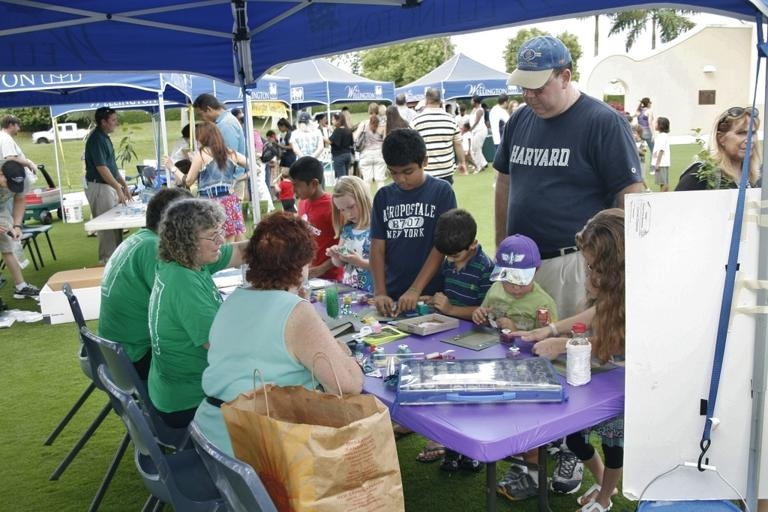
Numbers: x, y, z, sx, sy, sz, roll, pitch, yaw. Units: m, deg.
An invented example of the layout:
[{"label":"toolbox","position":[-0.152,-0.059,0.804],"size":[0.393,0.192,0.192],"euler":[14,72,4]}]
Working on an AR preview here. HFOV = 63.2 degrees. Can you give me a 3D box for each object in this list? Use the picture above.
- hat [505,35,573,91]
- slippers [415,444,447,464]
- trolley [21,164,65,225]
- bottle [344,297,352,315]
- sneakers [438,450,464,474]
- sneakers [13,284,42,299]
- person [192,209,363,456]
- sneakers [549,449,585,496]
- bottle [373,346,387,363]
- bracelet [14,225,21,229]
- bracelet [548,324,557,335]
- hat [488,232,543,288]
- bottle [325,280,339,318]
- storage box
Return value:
[{"label":"hat","position":[0.896,-1.159,3.633],"size":[0.445,0.228,0.302],"euler":[-29,34,-29]},{"label":"slippers","position":[0.296,1.249,3.979],"size":[0.188,0.056,0.139],"euler":[-4,4,-20]},{"label":"trolley","position":[-5.949,-1.027,10.647],"size":[0.603,0.948,1.048],"euler":[-4,14,-5]},{"label":"bottle","position":[-0.230,0.309,3.888],"size":[0.050,0.025,0.090],"euler":[-9,43,-8]},{"label":"sneakers","position":[0.416,1.282,3.861],"size":[0.101,0.210,0.220],"euler":[-1,-16,13]},{"label":"sneakers","position":[-4.003,0.409,6.984],"size":[0.317,0.137,0.140],"euler":[-1,10,-11]},{"label":"person","position":[-0.528,0.409,3.035],"size":[0.731,1.154,0.875],"euler":[-2,11,-37]},{"label":"sneakers","position":[1.093,1.248,3.682],"size":[0.148,0.178,0.446],"euler":[3,10,25]},{"label":"bottle","position":[-0.021,0.510,3.225],"size":[0.059,0.109,0.063],"euler":[3,3,0]},{"label":"bracelet","position":[-4.026,-0.317,6.828],"size":[0.046,0.035,0.046],"euler":[-1,4,14]},{"label":"bracelet","position":[0.883,0.384,3.267],"size":[0.035,0.049,0.049],"euler":[-25,25,-14]},{"label":"hat","position":[0.714,-0.006,3.413],"size":[0.250,0.207,0.353],"euler":[7,31,25]},{"label":"bottle","position":[-0.310,0.260,3.711],"size":[0.061,0.230,0.062],"euler":[-1,23,0]},{"label":"storage box","position":[-3.262,0.415,6.489],"size":[0.843,0.389,0.824],"euler":[-6,8,-34]}]
